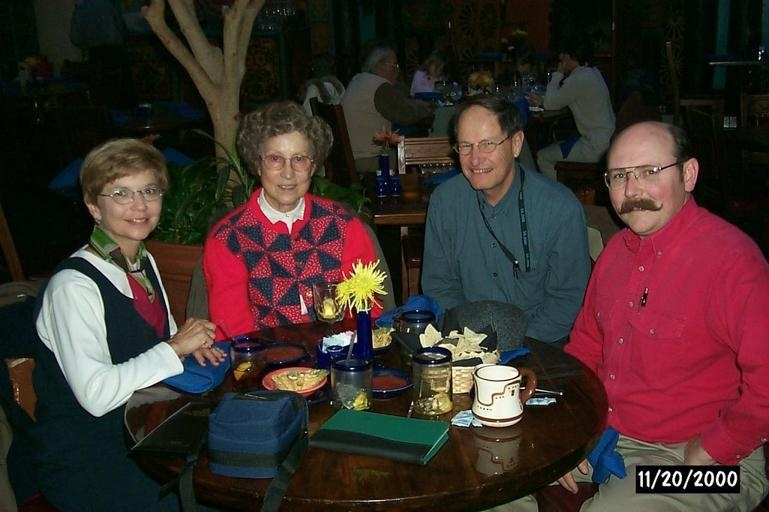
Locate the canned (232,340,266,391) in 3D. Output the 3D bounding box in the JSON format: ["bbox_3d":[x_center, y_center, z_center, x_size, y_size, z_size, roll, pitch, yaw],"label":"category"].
[{"bbox_3d":[-0.556,0.441,2.343,0.139,0.161,0.156,-6,11,-16],"label":"canned"}]

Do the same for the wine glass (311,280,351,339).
[{"bbox_3d":[-0.216,0.271,2.634,0.177,0.265,0.179,-3,-2,28],"label":"wine glass"}]

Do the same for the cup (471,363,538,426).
[{"bbox_3d":[0.453,0.515,2.130,0.261,0.202,0.145,-6,11,-17],"label":"cup"}]

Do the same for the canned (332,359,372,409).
[{"bbox_3d":[-0.120,0.486,2.224,0.183,0.185,0.176,4,16,10],"label":"canned"}]

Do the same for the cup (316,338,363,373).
[{"bbox_3d":[-0.200,0.406,2.362,0.191,0.180,0.107,6,22,11],"label":"cup"}]

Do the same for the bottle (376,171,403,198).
[{"bbox_3d":[0.038,-0.616,4.950,0.286,0.264,0.155,-3,19,-1],"label":"bottle"}]

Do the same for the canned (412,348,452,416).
[{"bbox_3d":[0.183,0.476,2.182,0.158,0.233,0.171,-2,11,6],"label":"canned"}]

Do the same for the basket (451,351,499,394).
[{"bbox_3d":[0.348,0.466,2.292,0.146,0.065,0.172,0,9,12],"label":"basket"}]

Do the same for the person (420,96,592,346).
[{"bbox_3d":[0.669,-0.139,3.475,1.091,1.532,0.957,6,26,29],"label":"person"}]

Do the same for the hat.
[{"bbox_3d":[0.437,0.291,2.434,0.302,0.138,0.216,0,14,3],"label":"hat"}]

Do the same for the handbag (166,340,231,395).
[{"bbox_3d":[-0.733,0.473,2.406,0.230,0.133,0.299,6,13,41],"label":"handbag"}]

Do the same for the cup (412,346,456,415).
[{"bbox_3d":[0.186,0.484,2.214,0.172,0.228,0.160,-2,3,0],"label":"cup"}]

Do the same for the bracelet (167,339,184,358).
[{"bbox_3d":[-0.872,0.388,2.396,0.029,0.073,0.056,-41,-13,-4],"label":"bracelet"}]

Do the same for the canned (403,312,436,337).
[{"bbox_3d":[0.144,0.286,2.440,0.107,0.073,0.102,0,5,-2],"label":"canned"}]

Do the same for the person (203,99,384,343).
[{"bbox_3d":[-0.526,-0.141,3.181,1.007,1.319,0.853,-3,20,-13],"label":"person"}]

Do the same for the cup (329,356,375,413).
[{"bbox_3d":[-0.120,0.488,2.238,0.187,0.187,0.179,2,15,0],"label":"cup"}]

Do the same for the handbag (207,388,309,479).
[{"bbox_3d":[-0.430,0.608,1.962,0.276,0.229,0.230,1,11,16],"label":"handbag"}]

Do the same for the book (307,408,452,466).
[{"bbox_3d":[-0.009,0.623,1.987,0.316,0.040,0.191,4,18,16],"label":"book"}]
